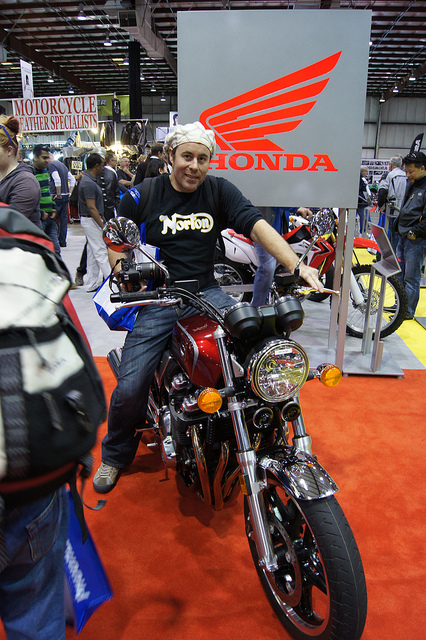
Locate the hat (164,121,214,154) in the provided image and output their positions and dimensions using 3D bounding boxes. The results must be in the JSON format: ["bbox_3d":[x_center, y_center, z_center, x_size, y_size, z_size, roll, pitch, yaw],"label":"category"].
[{"bbox_3d":[-0.137,-0.982,2.229,0.279,0.159,0.205,3,14,7],"label":"hat"}]

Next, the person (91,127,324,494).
[{"bbox_3d":[-0.121,-0.091,2.263,1.239,1.902,0.927,-6,15,-20],"label":"person"}]

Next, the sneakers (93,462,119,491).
[{"bbox_3d":[-0.638,0.961,2.488,0.080,0.089,0.226,26,12,-12],"label":"sneakers"}]

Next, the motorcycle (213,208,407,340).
[{"bbox_3d":[1.053,-0.736,5.449,2.780,1.764,1.316,7,6,21],"label":"motorcycle"}]
